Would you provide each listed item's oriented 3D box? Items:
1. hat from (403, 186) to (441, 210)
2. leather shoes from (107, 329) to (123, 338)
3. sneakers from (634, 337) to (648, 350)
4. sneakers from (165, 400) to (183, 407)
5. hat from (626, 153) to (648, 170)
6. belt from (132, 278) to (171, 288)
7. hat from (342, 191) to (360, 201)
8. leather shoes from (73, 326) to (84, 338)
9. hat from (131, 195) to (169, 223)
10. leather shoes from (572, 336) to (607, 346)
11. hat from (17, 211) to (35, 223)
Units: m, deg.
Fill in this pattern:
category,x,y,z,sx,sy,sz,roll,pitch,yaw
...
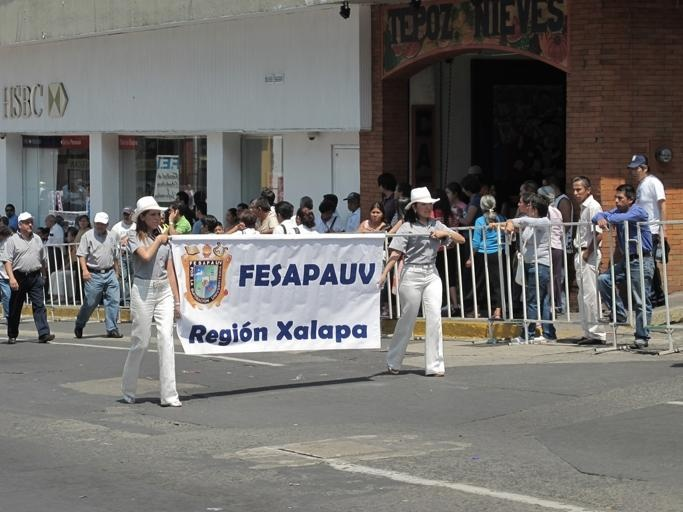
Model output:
category,x,y,z,sx,sy,sz,roll,pitch,yaw
hat,1.031,-0.812,17.600,0.357,0.177,0.388,-7,0,-31
leather shoes,-3.880,1.327,21.915,0.266,0.108,0.122,-2,0,21
sneakers,4.289,1.251,18.389,0.093,0.120,0.285,4,10,34
sneakers,-2.155,1.875,16.336,0.168,0.067,0.096,3,-7,5
hat,4.560,-1.432,19.383,0.418,0.222,0.259,-1,1,-23
belt,-2.449,0.337,16.481,0.471,0.137,0.145,-4,10,-10
hat,0.149,-1.128,24.069,0.282,0.105,0.181,-3,0,30
leather shoes,-4.520,1.318,22.048,0.226,0.226,0.123,3,12,17
hat,-2.549,-0.618,16.595,0.409,0.218,0.422,-10,-4,-38
leather shoes,3.699,1.247,19.152,0.462,0.174,0.155,-2,2,11
hat,-6.403,-0.804,25.988,0.401,0.207,0.600,-2,-2,-28
